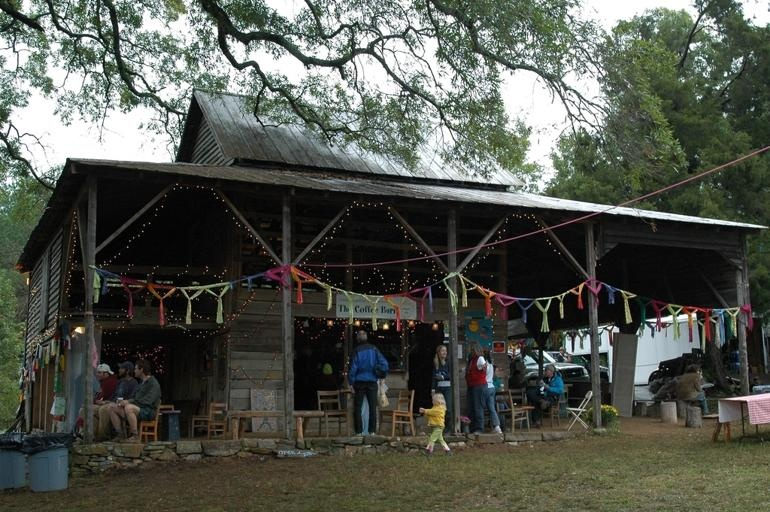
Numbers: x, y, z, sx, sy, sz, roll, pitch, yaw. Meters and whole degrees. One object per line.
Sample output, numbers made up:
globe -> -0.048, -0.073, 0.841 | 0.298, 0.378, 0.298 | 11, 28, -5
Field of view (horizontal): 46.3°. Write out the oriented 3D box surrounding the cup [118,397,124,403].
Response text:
cup -> -6.479, 3.542, 22.120 | 0.107, 0.100, 0.106 | 0, -12, 0

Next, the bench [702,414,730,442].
bench -> 8.690, 4.524, 23.594 | 0.524, 0.684, 1.028 | -2, -4, 24

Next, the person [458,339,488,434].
person -> 2.465, 3.484, 23.924 | 0.429, 2.361, 0.909 | 3, -13, -18

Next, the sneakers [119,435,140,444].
sneakers -> -6.203, 4.461, 21.903 | 0.386, 0.174, 0.222 | 3, -11, 4

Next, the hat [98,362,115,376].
hat -> -7.231, 2.942, 23.433 | 0.314, 0.296, 0.489 | 4, -5, 27

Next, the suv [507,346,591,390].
suv -> 6.271, 4.292, 34.456 | 3.292, 1.496, 1.899 | -5, -7, 23

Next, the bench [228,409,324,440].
bench -> -2.840, 4.393, 23.314 | 2.302, 0.800, 2.346 | 1, -13, -10

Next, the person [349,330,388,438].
person -> -0.433, 3.247, 23.232 | 1.002, 2.642, 0.806 | 0, -13, -5

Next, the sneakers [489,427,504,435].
sneakers -> 3.014, 4.695, 24.189 | 0.192, 0.136, 0.535 | -2, -13, -6

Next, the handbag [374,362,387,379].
handbag -> -0.088, 2.957, 23.089 | 0.272, 0.341, 0.361 | 1, 2, 0
